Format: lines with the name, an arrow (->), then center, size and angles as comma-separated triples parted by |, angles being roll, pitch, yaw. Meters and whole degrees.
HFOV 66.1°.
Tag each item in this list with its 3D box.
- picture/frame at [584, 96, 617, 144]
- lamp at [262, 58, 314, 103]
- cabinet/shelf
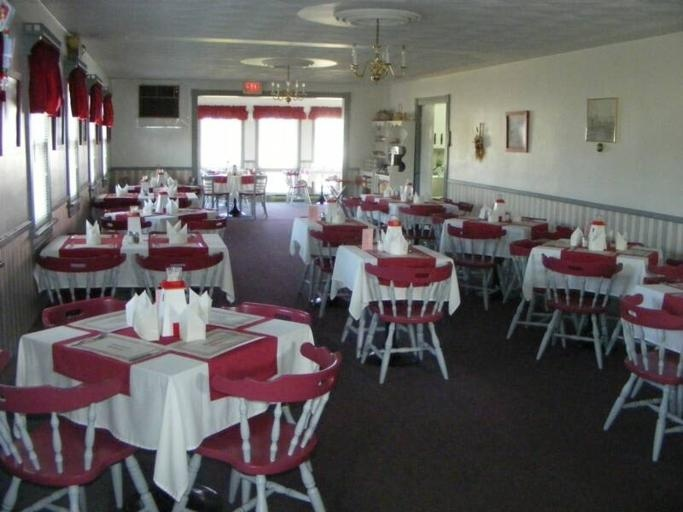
picture/frame -> 3.452, -1.774, 6.962 | 0.054, 0.579, 0.521 | -4, 13, -19
lamp -> -1.272, -3.947, 12.426 | 0.980, 1.242, 1.006 | -3, 10, -21
cabinet/shelf -> 1.123, -2.358, 12.386 | 0.629, 2.060, 2.003 | -1, 9, -13
